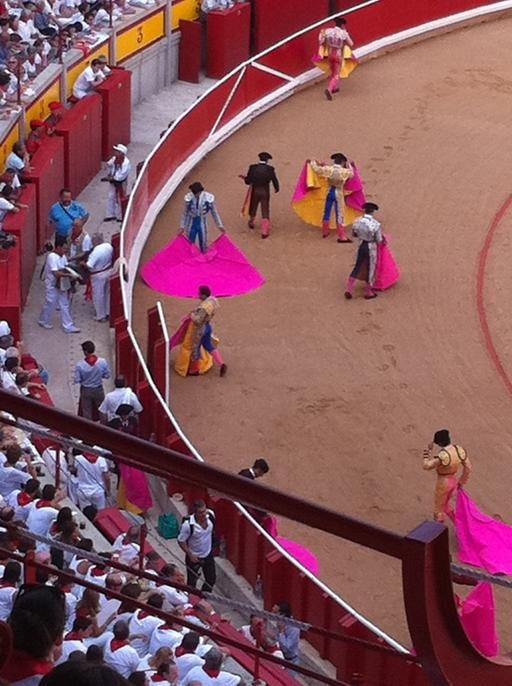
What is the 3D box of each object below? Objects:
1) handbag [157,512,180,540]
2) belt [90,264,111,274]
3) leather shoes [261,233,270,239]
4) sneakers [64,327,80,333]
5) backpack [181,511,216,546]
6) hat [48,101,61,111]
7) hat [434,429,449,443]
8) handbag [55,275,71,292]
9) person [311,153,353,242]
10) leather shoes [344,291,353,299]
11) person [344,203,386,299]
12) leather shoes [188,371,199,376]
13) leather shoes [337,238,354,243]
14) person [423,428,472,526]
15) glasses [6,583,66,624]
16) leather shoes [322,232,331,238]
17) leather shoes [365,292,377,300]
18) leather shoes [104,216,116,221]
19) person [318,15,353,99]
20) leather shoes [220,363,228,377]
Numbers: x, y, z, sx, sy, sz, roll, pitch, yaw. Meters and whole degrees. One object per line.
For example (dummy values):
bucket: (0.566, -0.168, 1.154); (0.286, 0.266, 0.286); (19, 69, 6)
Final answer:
handbag: (-0.840, 1.779, 11.437); (0.202, 0.247, 0.256); (6, 26, 0)
belt: (-2.018, -0.952, 15.428); (0.063, 0.106, 0.375); (19, 28, 40)
leather shoes: (0.135, -1.667, 18.373); (0.112, 0.071, 0.213); (-1, -1, 7)
sneakers: (-2.394, -0.166, 15.426); (0.195, 0.075, 0.064); (0, 68, -16)
backpack: (-0.504, 1.596, 10.589); (0.233, 0.217, 0.220); (8, 51, -3)
hat: (-3.170, -3.752, 18.724); (0.208, 0.164, 0.124); (-6, -8, 42)
hat: (1.861, 0.931, 11.672); (0.170, 0.157, 0.041); (-1, -9, 38)
handbag: (-2.453, -0.783, 15.069); (0.242, 0.226, 0.139); (-12, 45, -16)
person: (1.141, -2.210, 17.987); (0.606, 1.389, 0.835); (0, 22, 2)
leather shoes: (1.296, -0.669, 16.616); (0.076, 0.118, 0.113); (4, 33, 14)
person: (1.489, -1.212, 16.093); (0.455, 1.481, 0.790); (1, 22, 5)
leather shoes: (-0.787, 0.381, 14.866); (0.159, 0.045, 0.061); (-4, 9, 25)
leather shoes: (1.356, -1.571, 18.174); (0.222, 0.076, 0.073); (2, 52, -8)
person: (1.896, 1.389, 11.889); (0.449, 1.148, 0.527); (3, 23, 9)
glasses: (-0.893, 1.069, 4.841); (0.205, 0.174, 0.223); (-2, 21, -4)
leather shoes: (1.085, -1.691, 18.386); (0.045, 0.059, 0.142); (14, 41, 23)
leather shoes: (1.611, -0.668, 16.614); (0.159, 0.062, 0.077); (-11, 56, -16)
leather shoes: (-2.283, -1.931, 18.466); (0.178, 0.072, 0.061); (-2, 64, -5)
person: (1.603, -5.618, 23.562); (0.744, 1.458, 1.381); (0, 22, 3)
leather shoes: (-0.402, 0.340, 14.856); (0.063, 0.173, 0.072); (5, 45, 2)
